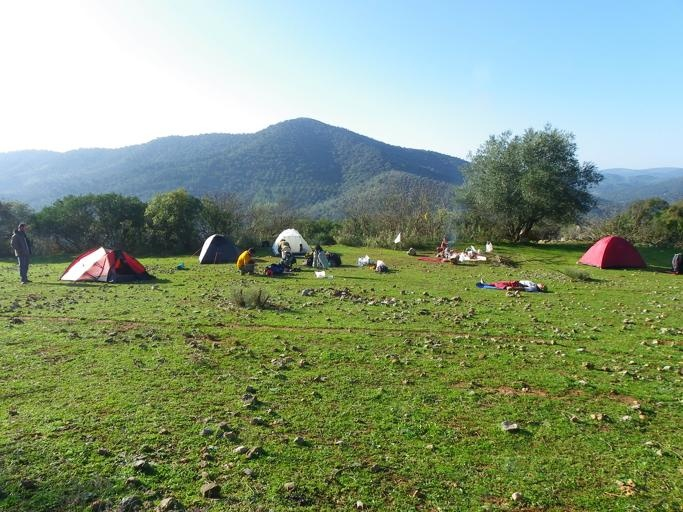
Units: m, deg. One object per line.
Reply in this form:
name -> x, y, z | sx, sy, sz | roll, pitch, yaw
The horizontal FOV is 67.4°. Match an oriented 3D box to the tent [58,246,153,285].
tent -> -9.225, 0.534, 19.997 | 2.172, 0.743, 1.778 | 2, 3, 25

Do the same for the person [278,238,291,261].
person -> -2.790, -0.219, 25.581 | 0.491, 0.956, 1.779 | 0, 6, -5

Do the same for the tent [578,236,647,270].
tent -> 12.919, 0.079, 24.859 | 2.090, 1.128, 1.934 | -2, 2, -26

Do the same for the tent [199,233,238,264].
tent -> -6.578, -0.267, 27.338 | 1.933, 1.406, 1.489 | -1, 7, -15

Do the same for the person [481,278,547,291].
person -> 6.330, 1.181, 18.893 | 1.553, 0.331, 0.866 | 0, 4, 22

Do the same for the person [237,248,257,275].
person -> -4.456, 0.374, 24.135 | 0.888, 1.226, 0.889 | -5, 28, -41
